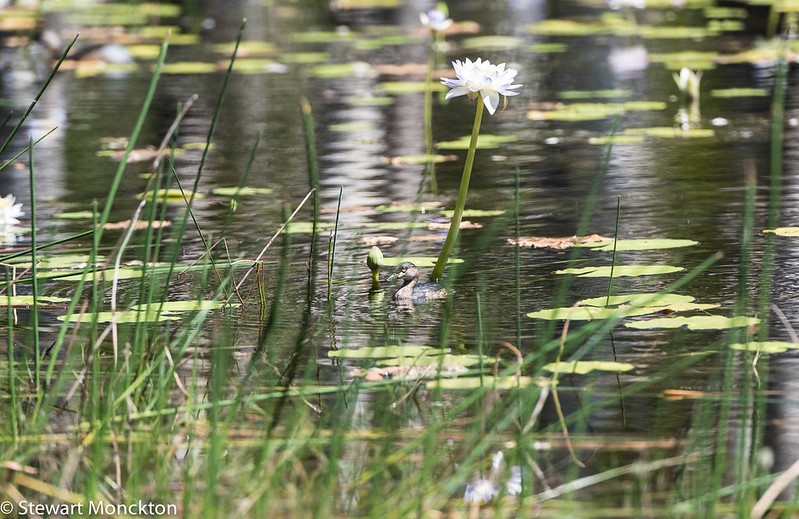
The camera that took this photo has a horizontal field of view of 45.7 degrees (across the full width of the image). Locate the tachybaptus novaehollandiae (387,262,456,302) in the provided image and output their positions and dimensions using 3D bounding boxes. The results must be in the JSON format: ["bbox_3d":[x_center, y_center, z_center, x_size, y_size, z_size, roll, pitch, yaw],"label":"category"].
[{"bbox_3d":[0.044,0.086,3.236,0.125,0.137,0.294,7,2,40],"label":"tachybaptus novaehollandiae"}]

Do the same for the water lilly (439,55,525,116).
[{"bbox_3d":[0.236,-0.535,2.987,0.220,0.206,0.287,5,26,0],"label":"water lilly"}]

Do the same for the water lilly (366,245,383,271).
[{"bbox_3d":[-0.089,-0.003,3.269,0.055,0.114,0.091,4,30,-3],"label":"water lilly"}]

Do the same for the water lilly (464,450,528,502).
[{"bbox_3d":[0.209,0.516,2.272,0.204,0.041,0.145,4,29,8],"label":"water lilly"}]
